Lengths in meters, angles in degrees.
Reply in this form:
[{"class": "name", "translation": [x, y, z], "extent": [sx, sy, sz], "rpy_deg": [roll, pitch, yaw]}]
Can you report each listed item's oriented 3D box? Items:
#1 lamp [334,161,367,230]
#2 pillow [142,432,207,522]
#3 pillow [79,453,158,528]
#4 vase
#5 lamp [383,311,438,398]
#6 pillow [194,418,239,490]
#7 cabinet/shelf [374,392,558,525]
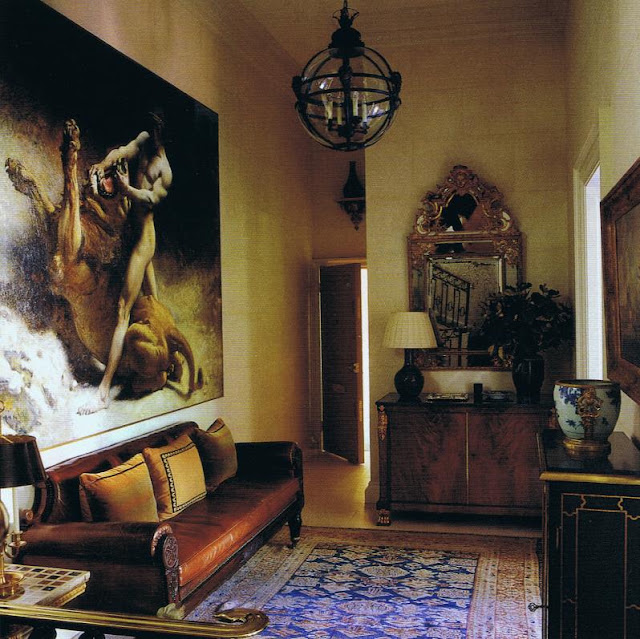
[{"class": "lamp", "translation": [0.330, -1.307, 7.404], "extent": [0.274, 0.671, 0.312], "rpy_deg": [-1, 0, 0]}, {"class": "pillow", "translation": [-0.768, 0.836, 3.696], "extent": [0.140, 0.263, 0.398], "rpy_deg": [-1, 3, 19]}, {"class": "pillow", "translation": [-0.906, 0.766, 3.140], "extent": [0.118, 0.223, 0.329], "rpy_deg": [-4, 4, 25]}, {"class": "vase", "translation": [1.039, 0.372, 2.755], "extent": [0.264, 0.246, 0.244], "rpy_deg": [-2, 2, 9]}, {"class": "lamp", "translation": [0.670, 0.259, 5.189], "extent": [0.394, 0.581, 0.388], "rpy_deg": [-1, 0, 8]}, {"class": "pillow", "translation": [-0.636, 0.831, 4.289], "extent": [0.132, 0.243, 0.358], "rpy_deg": [-3, 7, 16]}, {"class": "cabinet/shelf", "translation": [0.968, 0.903, 4.640], "extent": [1.343, 0.800, 0.518], "rpy_deg": [0, -3, 13]}]
